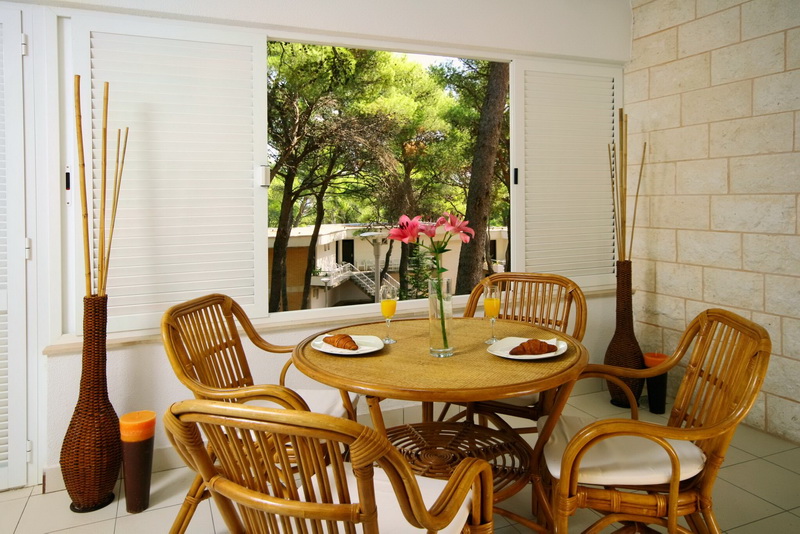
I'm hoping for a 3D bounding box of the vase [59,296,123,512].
[{"bbox_3d":[-1.639,0.739,3.153,0.196,1.132,0.302,4,11,29],"label":"vase"}]
